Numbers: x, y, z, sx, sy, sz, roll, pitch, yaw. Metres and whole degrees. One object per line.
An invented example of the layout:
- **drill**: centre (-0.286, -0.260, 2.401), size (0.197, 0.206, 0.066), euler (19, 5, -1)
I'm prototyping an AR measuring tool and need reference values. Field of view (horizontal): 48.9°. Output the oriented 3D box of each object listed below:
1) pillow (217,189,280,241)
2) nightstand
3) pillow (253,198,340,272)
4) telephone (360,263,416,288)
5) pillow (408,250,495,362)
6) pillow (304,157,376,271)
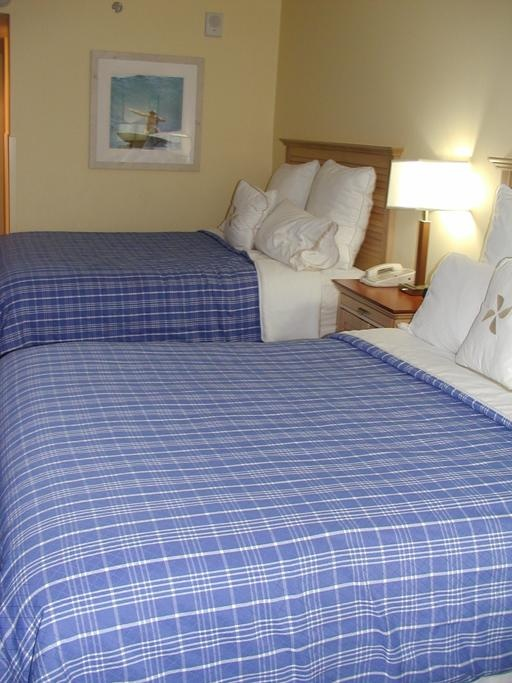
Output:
- **pillow**: centre (-0.105, -0.976, 4.400), size (0.281, 0.439, 0.533), euler (-5, 34, -23)
- **nightstand**: centre (0.638, -0.118, 3.109), size (0.305, 0.401, 0.442), euler (-2, 33, -12)
- **pillow**: centre (0.220, -0.710, 3.778), size (0.547, 0.440, 0.210), euler (24, -7, 34)
- **telephone**: centre (0.785, -0.389, 3.309), size (0.234, 0.073, 0.163), euler (-3, 15, -13)
- **pillow**: centre (0.783, -0.146, 2.254), size (0.121, 0.365, 0.381), euler (19, 13, -21)
- **pillow**: centre (0.580, -0.869, 3.840), size (0.220, 0.635, 0.715), euler (-2, 15, -35)
